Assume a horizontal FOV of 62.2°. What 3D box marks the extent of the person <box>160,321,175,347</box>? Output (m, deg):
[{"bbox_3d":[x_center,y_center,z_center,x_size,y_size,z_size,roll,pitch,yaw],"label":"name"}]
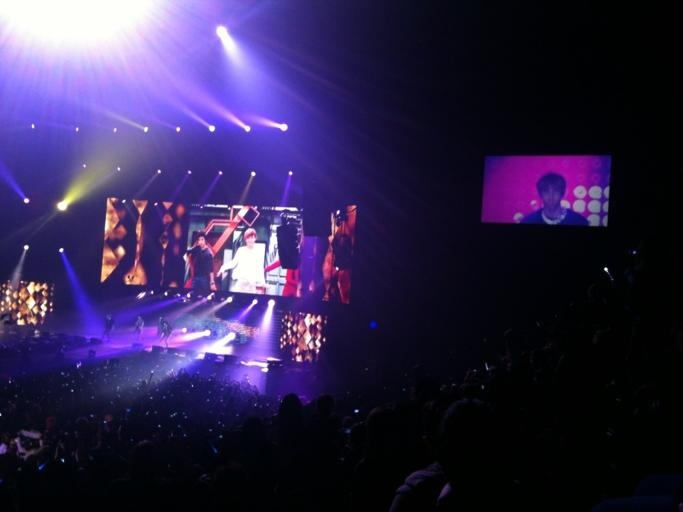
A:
[{"bbox_3d":[-4.419,1.961,14.375,0.293,0.658,1.090,5,-9,-17],"label":"person"}]
